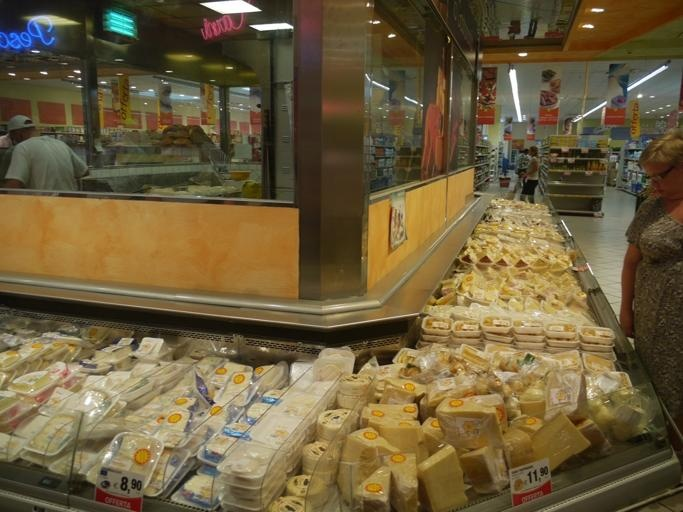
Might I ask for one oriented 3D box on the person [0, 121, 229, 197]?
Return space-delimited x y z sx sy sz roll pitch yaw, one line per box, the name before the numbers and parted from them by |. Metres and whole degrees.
person | -1.630 -0.600 3.094 1.243 0.377 0.604 2 14 4
